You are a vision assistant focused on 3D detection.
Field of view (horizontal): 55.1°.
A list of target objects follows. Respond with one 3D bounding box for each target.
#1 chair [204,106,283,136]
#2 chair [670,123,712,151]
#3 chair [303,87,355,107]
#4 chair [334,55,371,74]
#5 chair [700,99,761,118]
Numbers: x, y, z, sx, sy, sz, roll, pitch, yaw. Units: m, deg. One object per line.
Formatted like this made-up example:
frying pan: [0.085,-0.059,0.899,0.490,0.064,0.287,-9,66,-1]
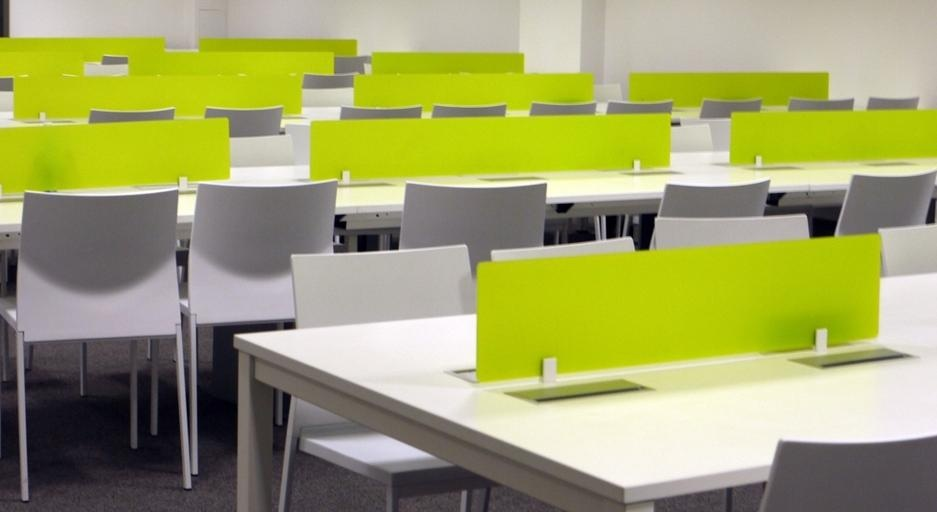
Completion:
chair: [-1.605,-0.964,6.451,0.522,0.205,0.288,-2,11,-16]
chair: [1.522,-0.808,6.181,0.212,0.338,0.235,-2,7,-10]
chair: [-1.314,-1.479,8.396,0.455,0.162,0.253,-1,11,-9]
chair: [-1.590,-2.605,12.241,0.453,0.268,1.614,-1,10,-8]
chair: [2.310,-1.316,8.040,0.358,0.160,0.398,-4,11,-22]
